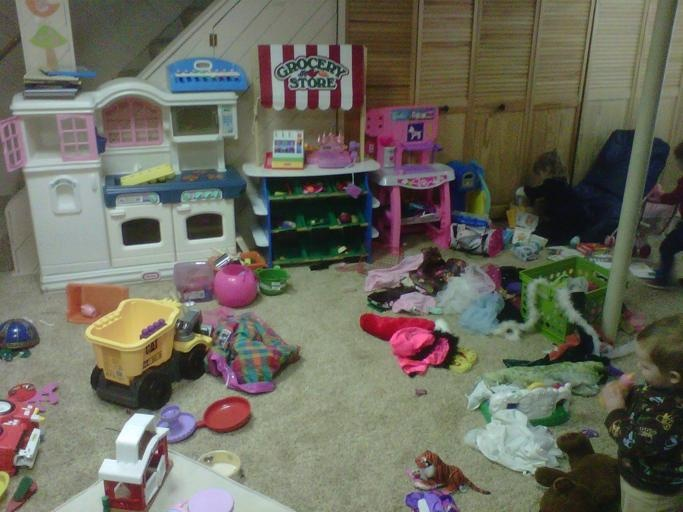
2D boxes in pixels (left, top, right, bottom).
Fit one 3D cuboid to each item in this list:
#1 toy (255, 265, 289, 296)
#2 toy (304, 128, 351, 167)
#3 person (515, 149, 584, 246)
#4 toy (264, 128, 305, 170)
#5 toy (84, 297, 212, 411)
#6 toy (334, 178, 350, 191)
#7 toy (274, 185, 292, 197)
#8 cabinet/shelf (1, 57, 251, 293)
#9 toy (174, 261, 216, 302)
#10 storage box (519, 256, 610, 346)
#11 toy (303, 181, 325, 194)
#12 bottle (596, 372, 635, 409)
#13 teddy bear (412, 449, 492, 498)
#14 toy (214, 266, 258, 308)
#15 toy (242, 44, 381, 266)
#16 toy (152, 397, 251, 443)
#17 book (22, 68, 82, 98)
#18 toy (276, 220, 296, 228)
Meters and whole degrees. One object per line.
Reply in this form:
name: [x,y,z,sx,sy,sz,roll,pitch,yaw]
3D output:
toy: [-0.564,0.197,4.693,0.277,0.184,0.237,-7,23,-12]
toy: [-0.123,-0.948,5.035,0.360,0.229,0.368,-3,23,-3]
person: [2.212,-0.654,5.920,0.644,0.722,1.118,4,23,14]
toy: [-0.495,-0.937,4.937,0.391,0.359,0.218,1,24,-2]
toy: [-1.209,0.565,3.674,0.556,0.496,0.756,16,30,25]
toy: [0.007,-0.647,5.047,0.107,0.084,0.120,28,39,36]
toy: [-0.512,-0.562,4.912,0.137,0.045,0.140,21,33,36]
cabinet/shelf: [-1.787,-0.630,4.669,1.816,1.607,0.641,-9,23,-21]
toy: [-1.204,0.194,4.565,0.330,0.276,0.258,-6,23,-9]
storage box: [1.715,0.314,4.194,0.714,0.438,0.582,-15,26,-29]
toy: [-0.241,-0.604,4.968,0.190,0.063,0.194,-3,22,-3]
bottle: [1.437,0.684,2.936,0.221,0.146,0.090,-38,32,-12]
teddy bear: [0.603,1.175,3.116,0.458,0.235,0.164,8,-12,11]
toy: [-0.829,0.237,4.383,0.333,0.270,0.324,-1,19,-9]
toy: [-0.272,-0.900,5.056,1.220,1.877,0.768,-6,23,-10]
toy: [-0.817,0.953,3.344,0.536,0.092,0.287,-7,29,-12]
book: [-2.268,-1.337,4.387,0.298,0.108,0.293,-6,30,-17]
toy: [-0.476,-0.277,4.973,0.143,0.039,0.141,-4,22,-6]
